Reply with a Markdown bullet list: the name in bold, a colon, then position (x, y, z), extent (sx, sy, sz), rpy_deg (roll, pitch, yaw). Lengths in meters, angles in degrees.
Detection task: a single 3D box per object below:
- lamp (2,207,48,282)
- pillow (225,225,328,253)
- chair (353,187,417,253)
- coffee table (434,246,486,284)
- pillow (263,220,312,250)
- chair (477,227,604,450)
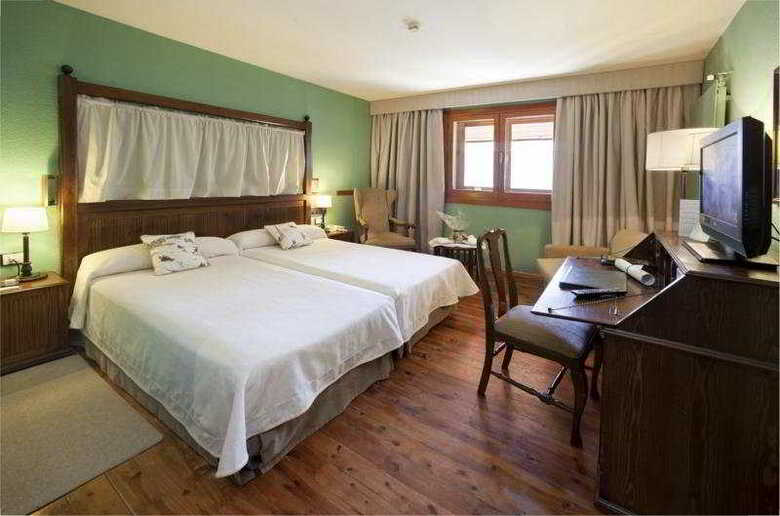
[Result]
- **lamp**: position (-3.207, -0.130, 4.382), extent (0.344, 0.646, 0.325), rpy_deg (-10, 14, -37)
- **pillow**: position (-1.468, -0.261, 5.717), extent (0.334, 0.153, 0.892), rpy_deg (38, 31, 26)
- **chair**: position (-0.107, -0.398, 7.068), extent (0.753, 1.206, 0.845), rpy_deg (-3, 13, -17)
- **coffee table**: position (0.890, 0.064, 6.426), extent (0.504, 0.383, 0.512), rpy_deg (0, 0, 8)
- **pillow**: position (-1.143, -0.245, 5.786), extent (0.365, 0.118, 0.388), rpy_deg (-5, 38, -47)
- **chair**: position (1.258, 0.524, 4.038), extent (0.984, 1.467, 0.804), rpy_deg (13, 22, 39)
